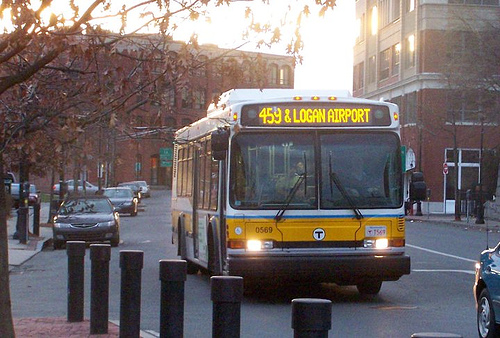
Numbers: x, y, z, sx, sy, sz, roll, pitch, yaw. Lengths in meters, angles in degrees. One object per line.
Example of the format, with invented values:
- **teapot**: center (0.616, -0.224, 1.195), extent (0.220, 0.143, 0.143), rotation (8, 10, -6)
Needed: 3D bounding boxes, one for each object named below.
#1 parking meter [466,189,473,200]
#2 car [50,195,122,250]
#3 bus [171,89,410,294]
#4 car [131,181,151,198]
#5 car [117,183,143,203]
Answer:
- **parking meter**: center (15.917, 1.925, 50.077), extent (0.099, 0.746, 0.765), rotation (9, 6, 39)
- **car**: center (-6.219, 1.871, 26.373), extent (2.266, 1.806, 4.931), rotation (-1, 2, -11)
- **bus**: center (0.129, 0.644, 18.666), extent (3.437, 4.432, 11.275), rotation (1, -2, -12)
- **car**: center (-12.106, 2.274, 78.876), extent (1.738, 1.482, 3.713), rotation (0, -6, -11)
- **car**: center (-10.842, 2.148, 63.203), extent (1.799, 1.356, 2.957), rotation (0, -6, -7)
